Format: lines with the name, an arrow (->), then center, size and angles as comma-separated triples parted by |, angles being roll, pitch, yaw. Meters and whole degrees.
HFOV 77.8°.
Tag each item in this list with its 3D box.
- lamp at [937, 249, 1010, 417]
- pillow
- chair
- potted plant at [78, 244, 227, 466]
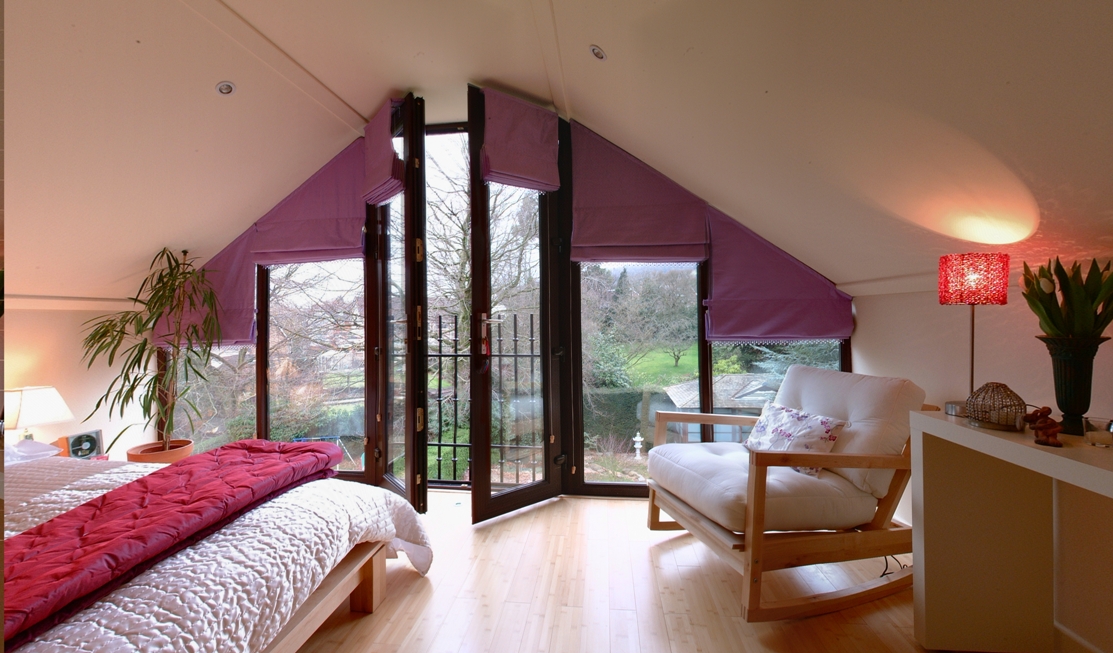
lamp -> 2.278, -0.016, 3.739 | 0.329, 0.730, 0.443 | -2, -3, 32
pillow -> 1.404, 0.616, 4.023 | 0.163, 0.331, 0.547 | 37, -14, -20
chair -> 1.342, 0.911, 4.000 | 1.467, 1.320, 0.810 | -1, -3, 1
potted plant -> -2.861, 0.150, 4.921 | 0.736, 1.418, 0.799 | -3, -4, 43
